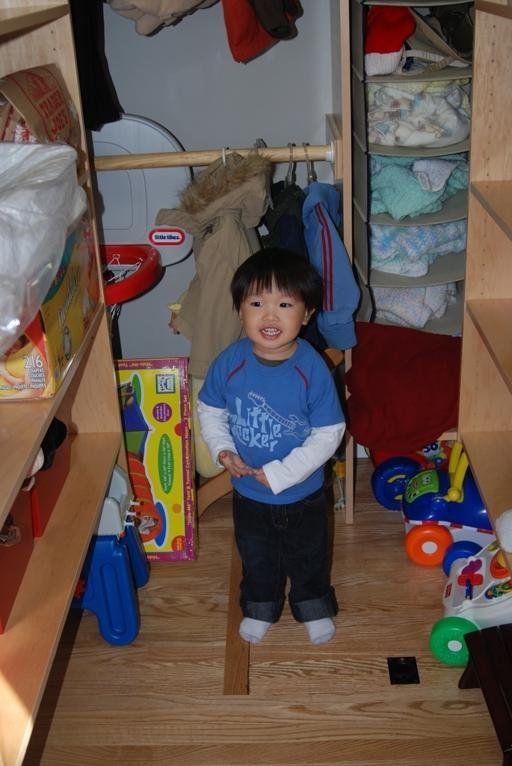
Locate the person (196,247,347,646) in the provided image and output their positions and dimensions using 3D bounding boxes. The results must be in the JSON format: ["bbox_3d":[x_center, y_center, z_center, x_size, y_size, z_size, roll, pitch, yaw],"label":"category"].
[{"bbox_3d":[0.023,0.193,1.369,0.361,0.960,0.326,7,15,27],"label":"person"}]
